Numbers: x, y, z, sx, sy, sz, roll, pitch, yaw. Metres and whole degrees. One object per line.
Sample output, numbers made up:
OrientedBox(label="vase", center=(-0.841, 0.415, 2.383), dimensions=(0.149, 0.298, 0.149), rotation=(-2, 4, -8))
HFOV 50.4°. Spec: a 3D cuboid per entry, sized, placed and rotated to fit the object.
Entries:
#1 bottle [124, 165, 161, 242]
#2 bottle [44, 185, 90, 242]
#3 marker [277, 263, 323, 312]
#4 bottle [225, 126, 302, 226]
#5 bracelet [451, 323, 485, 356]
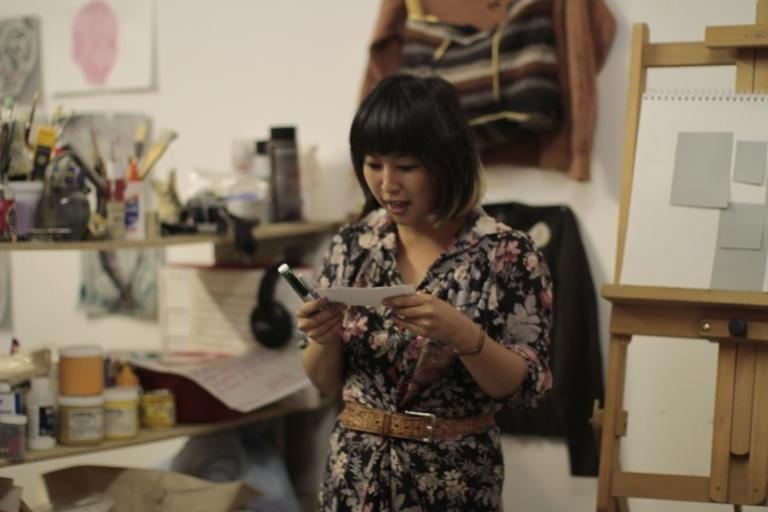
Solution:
OrientedBox(label="bottle", center=(-0.978, -0.215, 3.268), dimensions=(0.141, 0.342, 0.092), rotation=(-7, -13, 4))
OrientedBox(label="bottle", center=(-1.211, -0.163, 3.136), dimensions=(0.113, 0.188, 0.149), rotation=(8, 13, 43))
OrientedBox(label="marker", center=(-0.229, 0.100, 2.286), dimensions=(0.044, 0.170, 0.039), rotation=(-41, 12, -15))
OrientedBox(label="bottle", center=(-0.414, -0.323, 3.193), dimensions=(0.204, 0.371, 0.039), rotation=(2, 2, 18))
OrientedBox(label="bracelet", center=(0.229, 0.226, 2.228), dimensions=(0.075, 0.090, 0.027), rotation=(0, -2, 10))
